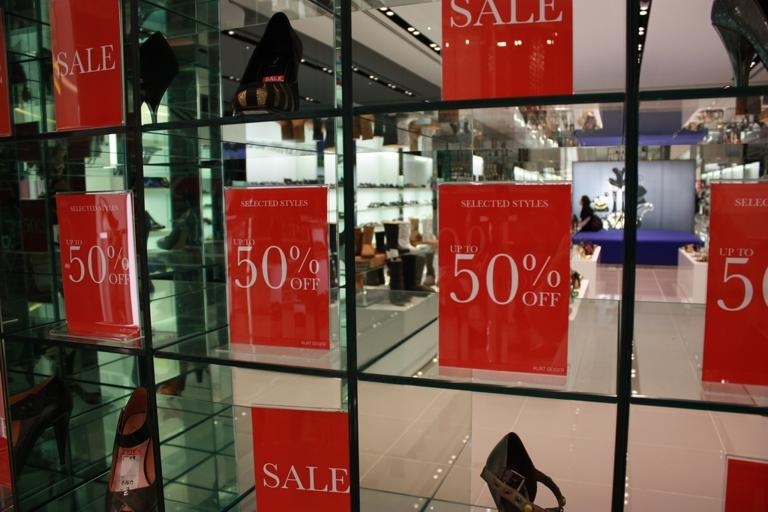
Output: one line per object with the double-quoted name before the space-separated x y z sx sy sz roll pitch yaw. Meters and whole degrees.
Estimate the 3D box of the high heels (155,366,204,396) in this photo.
"high heels" -0.938 0.577 2.694 0.242 0.107 0.078 4 -4 -43

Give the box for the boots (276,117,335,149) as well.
"boots" -0.309 -0.493 2.402 0.251 0.116 0.061 4 8 24

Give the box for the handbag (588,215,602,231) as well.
"handbag" 0.906 -0.143 2.541 0.027 0.053 0.052 -21 -12 -10
